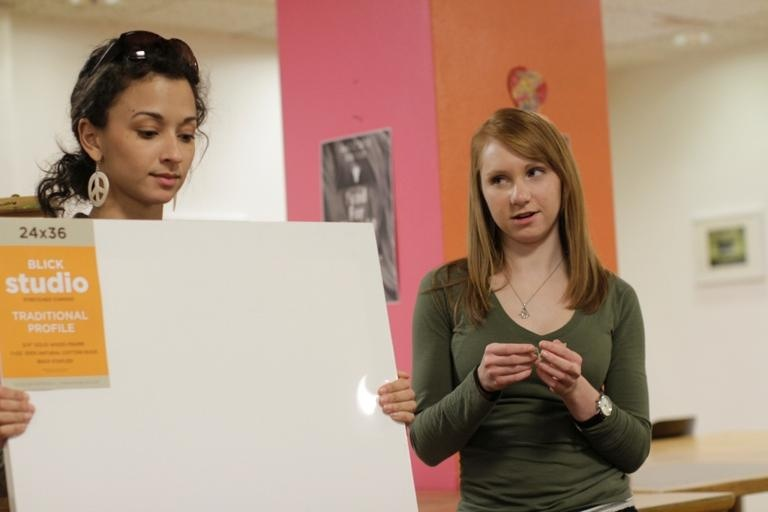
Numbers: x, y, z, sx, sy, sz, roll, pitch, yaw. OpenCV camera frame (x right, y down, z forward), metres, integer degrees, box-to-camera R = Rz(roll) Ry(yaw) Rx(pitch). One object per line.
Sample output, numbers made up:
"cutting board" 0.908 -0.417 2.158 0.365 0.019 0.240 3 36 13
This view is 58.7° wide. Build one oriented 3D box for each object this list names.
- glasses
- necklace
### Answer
"glasses" -0.663 -0.531 1.887 0.215 0.069 0.220 -3 -7 -40
"necklace" 0.414 0.094 1.909 0.174 0.188 0.014 6 -35 28
